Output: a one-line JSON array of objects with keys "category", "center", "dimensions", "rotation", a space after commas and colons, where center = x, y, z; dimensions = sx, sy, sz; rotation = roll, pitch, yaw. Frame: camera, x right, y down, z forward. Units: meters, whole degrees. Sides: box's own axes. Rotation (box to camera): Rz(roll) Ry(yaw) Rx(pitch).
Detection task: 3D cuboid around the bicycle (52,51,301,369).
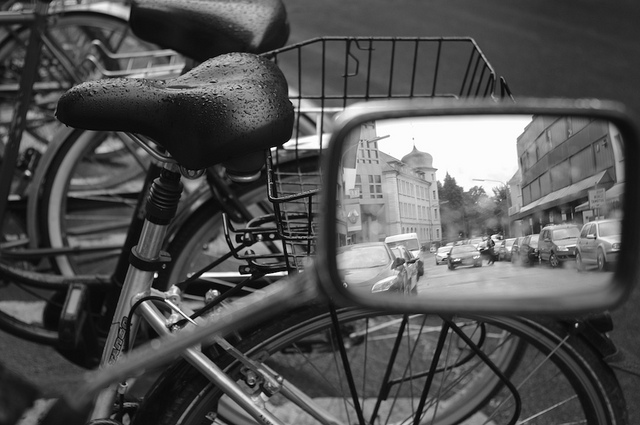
[{"category": "bicycle", "center": [-0.481, 0.006, 2.048], "dimensions": [0.782, 1.324, 1.114], "rotation": [0, 2, -15]}]
